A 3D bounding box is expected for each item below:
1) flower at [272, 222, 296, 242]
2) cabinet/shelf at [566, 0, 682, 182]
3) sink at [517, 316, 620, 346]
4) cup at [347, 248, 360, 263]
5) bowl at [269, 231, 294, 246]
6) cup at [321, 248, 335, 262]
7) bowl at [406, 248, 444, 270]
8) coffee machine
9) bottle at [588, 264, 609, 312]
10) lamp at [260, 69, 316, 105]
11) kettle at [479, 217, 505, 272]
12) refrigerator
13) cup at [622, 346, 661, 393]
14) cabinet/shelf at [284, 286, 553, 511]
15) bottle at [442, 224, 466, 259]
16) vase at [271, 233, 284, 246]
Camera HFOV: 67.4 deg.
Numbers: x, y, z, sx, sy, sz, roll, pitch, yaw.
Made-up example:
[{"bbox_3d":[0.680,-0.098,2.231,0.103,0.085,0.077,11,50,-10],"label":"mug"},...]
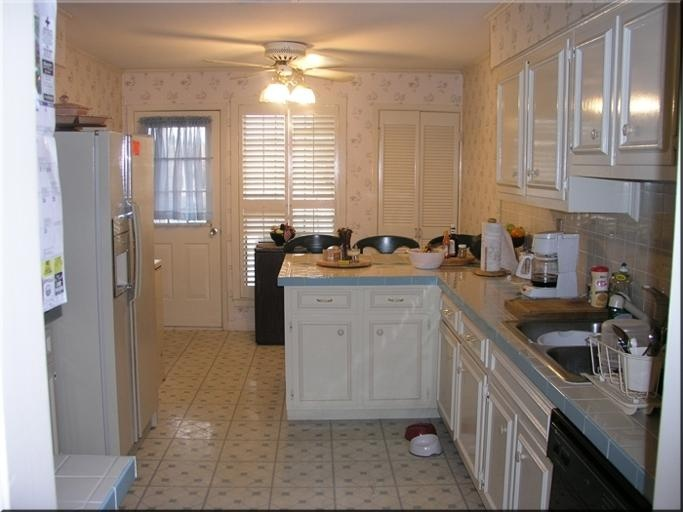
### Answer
[{"bbox_3d":[-0.619,-0.249,5.526,0.206,0.156,0.211,1,-1,6],"label":"flower"},{"bbox_3d":[1.097,-0.647,1.994,0.174,0.689,0.773,2,9,11],"label":"cabinet/shelf"},{"bbox_3d":[1.040,0.374,2.428,0.448,0.112,0.175,-1,9,-4],"label":"sink"},{"bbox_3d":[0.086,0.003,3.857,0.093,0.096,0.093,0,2,0],"label":"cup"},{"bbox_3d":[-0.649,-0.171,5.450,0.188,0.106,0.187,1,1,0],"label":"bowl"},{"bbox_3d":[-0.103,-0.004,3.936,0.090,0.094,0.098,-1,-1,0],"label":"cup"},{"bbox_3d":[0.614,0.025,3.702,0.253,0.128,0.218,1,9,8],"label":"bowl"},{"bbox_3d":[1.109,0.051,2.939,0.403,0.441,0.299,3,3,17],"label":"coffee machine"},{"bbox_3d":[1.331,0.152,2.644,0.084,0.207,0.167,5,11,27],"label":"bottle"},{"bbox_3d":[-0.458,-1.401,4.344,0.401,0.295,0.995,-1,9,-6],"label":"lamp"},{"bbox_3d":[1.035,-0.072,3.530,0.146,0.350,0.232,2,10,14],"label":"kettle"},{"bbox_3d":[-1.365,0.285,2.971,0.345,1.975,0.829,1,10,10],"label":"refrigerator"},{"bbox_3d":[0.984,0.387,1.739,0.132,0.108,0.142,1,-3,0],"label":"cup"},{"bbox_3d":[0.354,0.720,2.982,1.074,0.661,1.098,0,0,1],"label":"cabinet/shelf"},{"bbox_3d":[0.874,-0.121,3.945,0.174,0.250,0.407,2,9,12],"label":"bottle"},{"bbox_3d":[-0.680,-0.181,5.465,0.131,0.091,0.131,2,2,41],"label":"vase"}]
